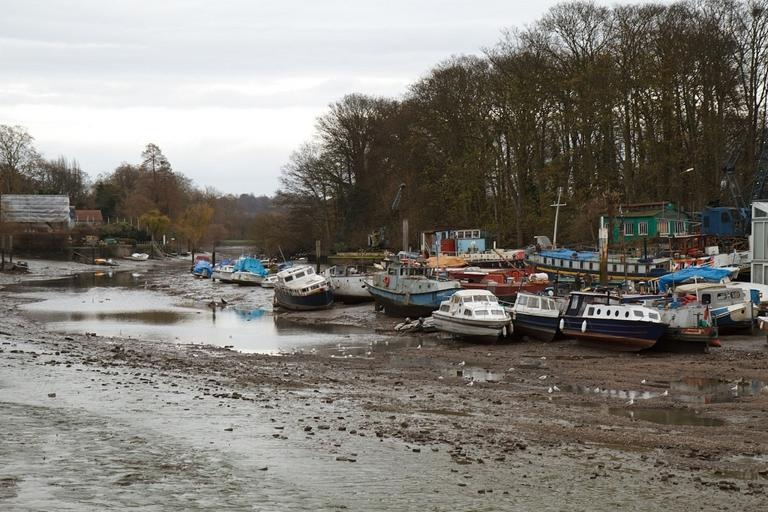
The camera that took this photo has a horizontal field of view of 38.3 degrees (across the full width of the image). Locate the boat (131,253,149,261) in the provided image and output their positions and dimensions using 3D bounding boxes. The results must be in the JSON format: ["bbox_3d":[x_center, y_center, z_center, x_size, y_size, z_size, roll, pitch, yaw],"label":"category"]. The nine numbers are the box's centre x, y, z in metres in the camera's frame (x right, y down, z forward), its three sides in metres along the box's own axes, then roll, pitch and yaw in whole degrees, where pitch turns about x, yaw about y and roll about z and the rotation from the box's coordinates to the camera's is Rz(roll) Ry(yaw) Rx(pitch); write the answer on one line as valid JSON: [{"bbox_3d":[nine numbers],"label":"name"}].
[{"bbox_3d":[-32.524,0.054,147.445,2.173,0.890,4.755,0,0,-13],"label":"boat"}]
